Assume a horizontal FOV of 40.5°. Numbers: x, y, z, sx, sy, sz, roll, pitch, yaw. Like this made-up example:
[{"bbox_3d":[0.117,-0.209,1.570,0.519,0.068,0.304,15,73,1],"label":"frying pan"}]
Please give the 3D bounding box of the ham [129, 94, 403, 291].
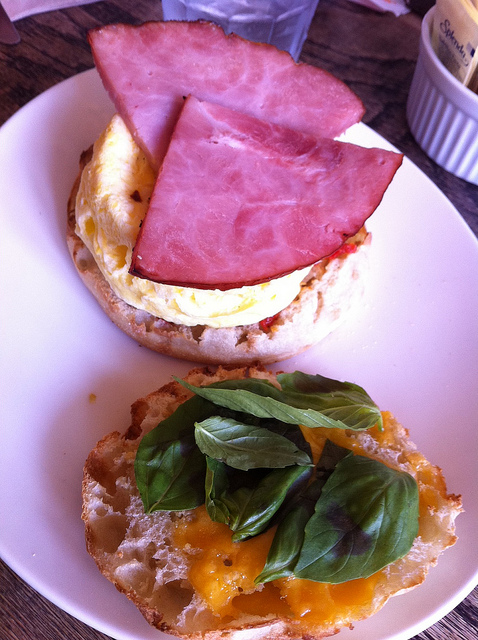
[{"bbox_3d":[0.037,-0.230,1.339,0.540,0.101,0.447,17,66,-9],"label":"ham"}]
